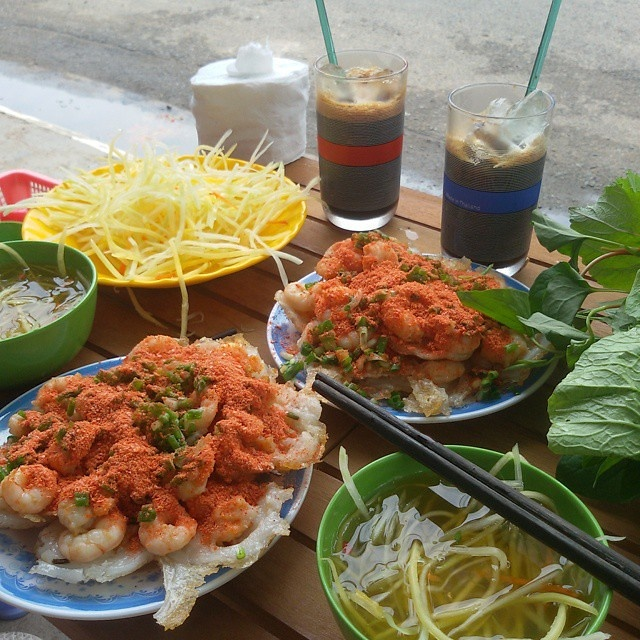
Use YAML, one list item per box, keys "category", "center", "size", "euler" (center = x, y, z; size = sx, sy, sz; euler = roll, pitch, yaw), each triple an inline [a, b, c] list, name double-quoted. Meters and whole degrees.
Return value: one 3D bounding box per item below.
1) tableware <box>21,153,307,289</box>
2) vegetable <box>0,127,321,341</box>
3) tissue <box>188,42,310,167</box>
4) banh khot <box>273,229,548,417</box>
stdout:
- category: "tableware"
  center: [-0.343, -0.241, 1.570]
  size: [0.562, 0.150, 0.449]
  euler: [5, 34, 6]
- category: "vegetable"
  center: [-0.352, -0.241, 1.570]
  size: [0.634, 0.198, 0.591]
  euler: [11, 34, 12]
- category: "tissue"
  center: [-0.203, -0.654, 1.959]
  size: [0.352, 0.274, 0.311]
  euler: [-20, 42, -21]
- category: "banh khot"
  center: [0.136, 0.016, 1.190]
  size: [0.462, 0.124, 0.356]
  euler: [-1, 37, -2]
